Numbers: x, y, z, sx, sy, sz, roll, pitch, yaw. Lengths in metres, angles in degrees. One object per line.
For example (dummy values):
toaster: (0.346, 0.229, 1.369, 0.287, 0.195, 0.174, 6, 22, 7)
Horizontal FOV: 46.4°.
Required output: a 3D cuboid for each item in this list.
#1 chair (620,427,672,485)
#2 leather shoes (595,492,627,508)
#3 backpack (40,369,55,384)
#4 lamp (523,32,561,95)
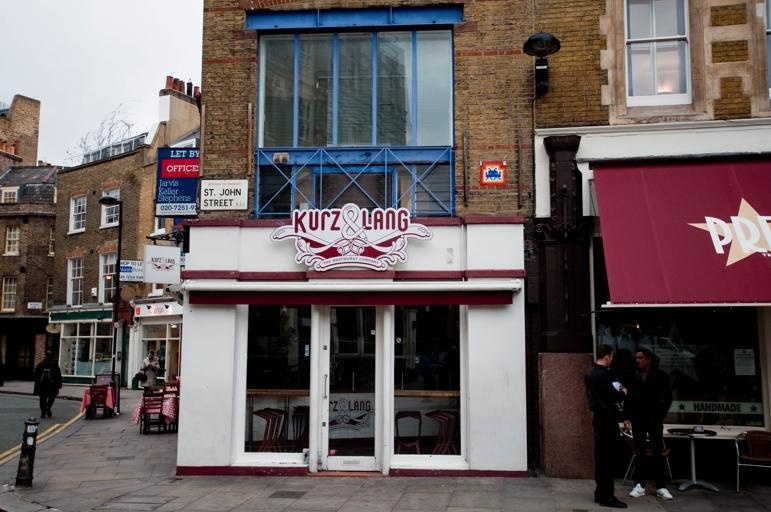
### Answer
chair: (5.712, 4.507, 20.229, 1.281, 1.608, 1.309, -6, -11, 18)
leather shoes: (4.685, 5.069, 18.672, 0.651, 0.244, 0.237, -1, -5, 10)
backpack: (-11.379, 4.021, 30.188, 0.413, 0.495, 0.388, 3, -18, -20)
lamp: (3.606, -4.440, 20.739, 1.237, 1.218, 1.213, -1, -6, 11)
